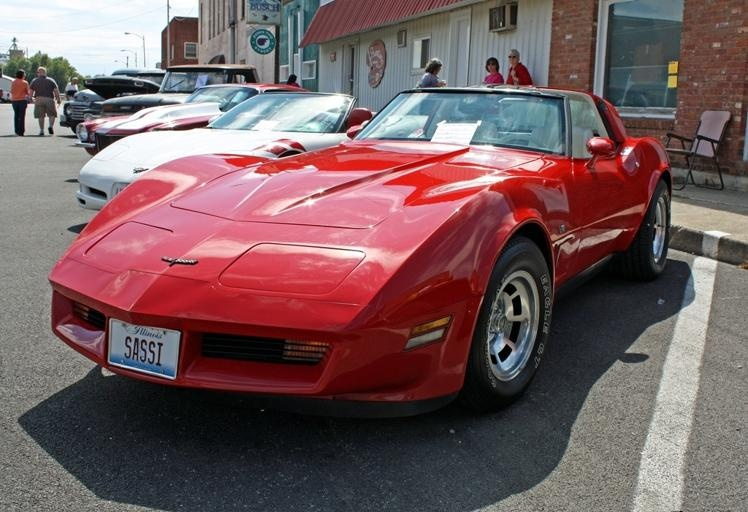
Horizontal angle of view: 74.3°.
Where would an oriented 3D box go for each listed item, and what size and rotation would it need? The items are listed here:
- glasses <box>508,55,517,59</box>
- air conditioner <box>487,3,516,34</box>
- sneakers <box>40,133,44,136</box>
[{"bbox_3d":[3.230,-4.688,11.590,0.187,0.109,0.085,10,19,33],"label":"glasses"},{"bbox_3d":[3.334,-6.192,12.829,0.363,0.666,0.772,-8,18,-23],"label":"air conditioner"},{"bbox_3d":[-13.581,-4.983,20.265,0.137,0.140,0.356,-9,9,-37],"label":"sneakers"}]
